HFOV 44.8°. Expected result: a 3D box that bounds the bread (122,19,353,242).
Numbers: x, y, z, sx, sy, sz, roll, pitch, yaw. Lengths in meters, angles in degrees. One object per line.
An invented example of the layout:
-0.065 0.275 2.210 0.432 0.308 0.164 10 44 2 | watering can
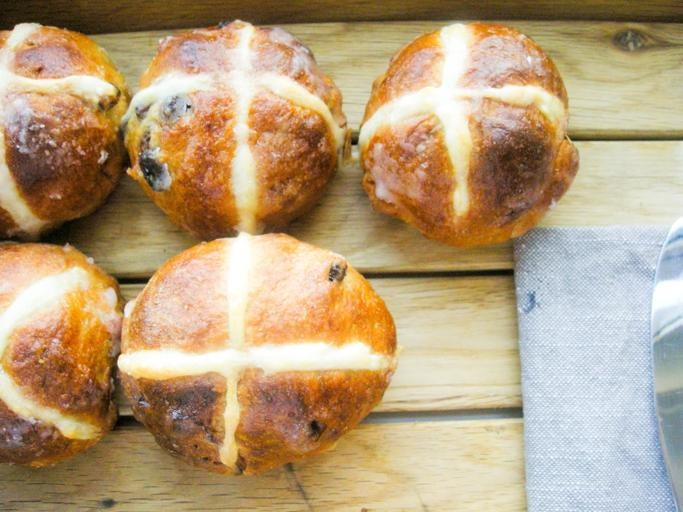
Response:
-0.187 -0.220 1.463 0.379 0.246 0.322 5 56 4 | bread

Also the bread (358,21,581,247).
0.276 -0.243 1.498 0.153 0.420 0.503 5 18 -28 | bread

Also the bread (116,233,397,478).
-0.139 0.163 1.383 0.408 0.223 0.350 18 57 12 | bread
